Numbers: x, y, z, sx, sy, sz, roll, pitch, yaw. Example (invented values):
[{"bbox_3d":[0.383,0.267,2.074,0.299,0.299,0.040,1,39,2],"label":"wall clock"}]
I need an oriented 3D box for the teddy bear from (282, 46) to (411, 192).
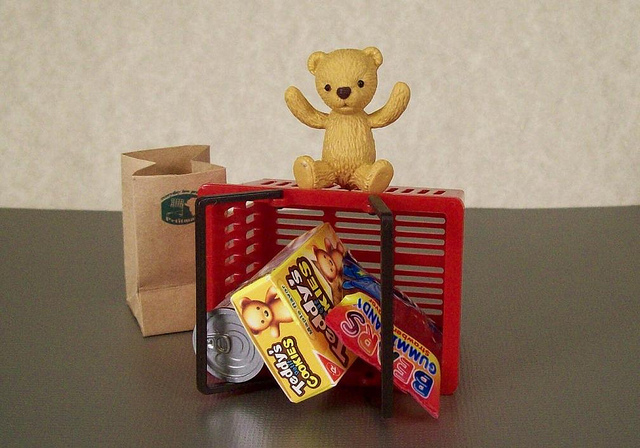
[{"bbox_3d":[0.085,-0.338,2.407,0.402,0.455,0.183,0,10,5],"label":"teddy bear"}]
